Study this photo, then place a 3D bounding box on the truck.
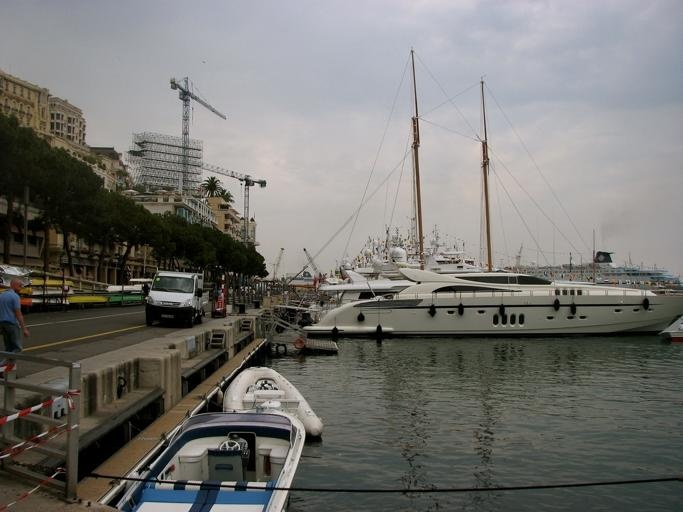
[{"bbox_3d":[-8.704,2.018,38.500,2.871,2.498,6.176,4,3,-4],"label":"truck"}]
